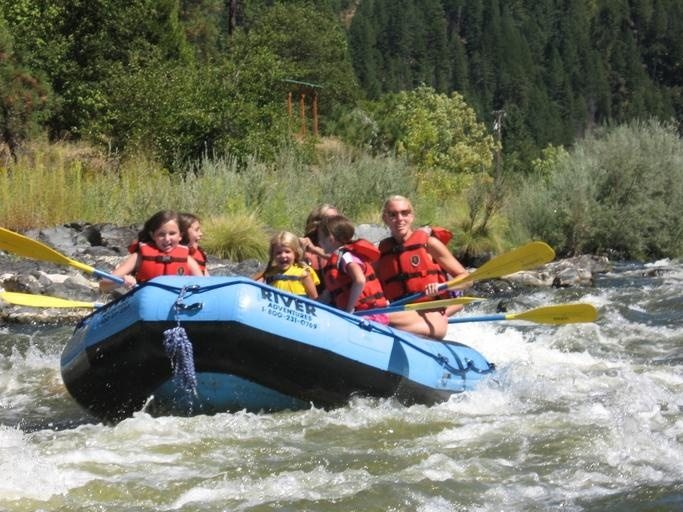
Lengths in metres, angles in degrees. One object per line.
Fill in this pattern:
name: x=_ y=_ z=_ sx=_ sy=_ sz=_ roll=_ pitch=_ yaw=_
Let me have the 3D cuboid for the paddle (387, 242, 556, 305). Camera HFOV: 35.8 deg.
paddle: x=1.909 y=0.283 z=15.202 sx=2.574 sy=0.397 sz=0.125 roll=-22 pitch=0 yaw=-4

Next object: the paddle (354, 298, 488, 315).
paddle: x=0.956 y=0.629 z=13.634 sx=1.418 sy=0.072 sz=0.216 roll=-6 pitch=37 yaw=12
